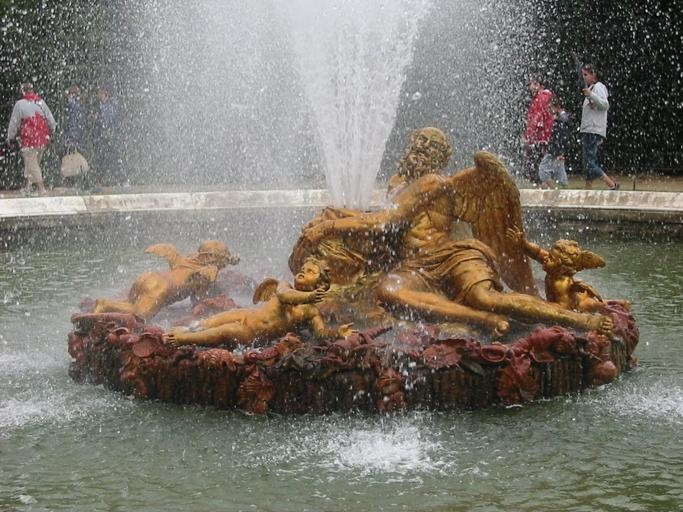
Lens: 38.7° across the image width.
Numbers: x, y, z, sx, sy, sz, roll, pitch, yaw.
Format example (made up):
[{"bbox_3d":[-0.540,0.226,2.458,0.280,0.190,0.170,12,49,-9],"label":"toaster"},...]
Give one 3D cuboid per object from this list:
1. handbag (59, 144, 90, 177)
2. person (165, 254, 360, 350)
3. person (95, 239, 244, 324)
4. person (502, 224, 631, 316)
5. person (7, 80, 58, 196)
[{"bbox_3d":[-4.661,-1.628,16.817,0.580,0.643,0.288,-4,-12,0],"label":"handbag"},{"bbox_3d":[-0.741,0.315,8.233,1.074,0.592,0.807,1,5,-10],"label":"person"},{"bbox_3d":[-1.583,0.186,9.059,1.053,0.483,0.632,-23,43,-40],"label":"person"},{"bbox_3d":[1.945,0.128,8.412,0.968,0.745,0.475,-1,9,10],"label":"person"},{"bbox_3d":[-4.929,-1.861,15.527,0.695,1.735,1.479,-5,10,-16],"label":"person"}]
